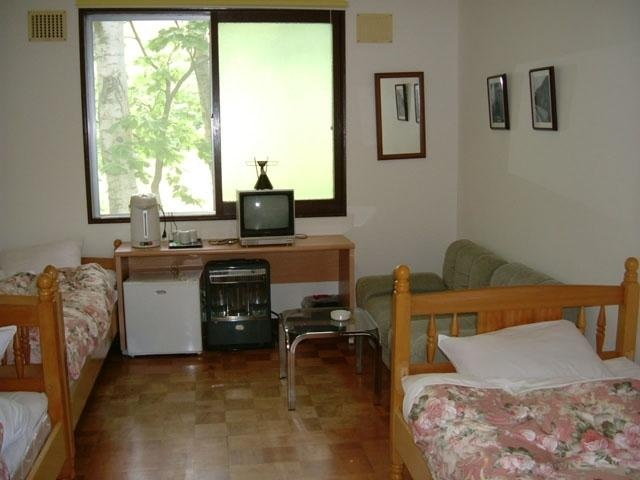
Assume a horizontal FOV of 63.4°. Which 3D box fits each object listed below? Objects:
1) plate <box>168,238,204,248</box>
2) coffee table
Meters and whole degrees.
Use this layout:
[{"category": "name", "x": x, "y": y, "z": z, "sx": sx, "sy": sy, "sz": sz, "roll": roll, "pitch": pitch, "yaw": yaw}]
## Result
[{"category": "plate", "x": -1.172, "y": 0.024, "z": 4.478, "sx": 0.302, "sy": 0.048, "sz": 0.304, "roll": -2, "pitch": 13, "yaw": -9}, {"category": "coffee table", "x": 0.047, "y": 0.816, "z": 3.801, "sx": 0.690, "sy": 0.556, "sz": 0.640, "roll": -1, "pitch": 13, "yaw": -6}]
